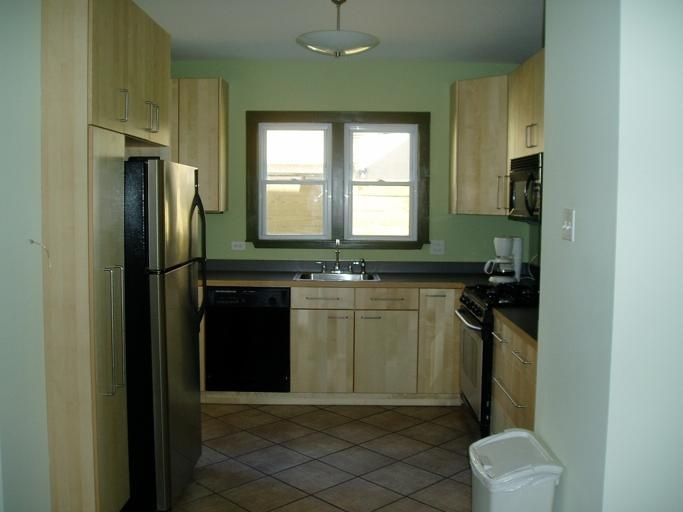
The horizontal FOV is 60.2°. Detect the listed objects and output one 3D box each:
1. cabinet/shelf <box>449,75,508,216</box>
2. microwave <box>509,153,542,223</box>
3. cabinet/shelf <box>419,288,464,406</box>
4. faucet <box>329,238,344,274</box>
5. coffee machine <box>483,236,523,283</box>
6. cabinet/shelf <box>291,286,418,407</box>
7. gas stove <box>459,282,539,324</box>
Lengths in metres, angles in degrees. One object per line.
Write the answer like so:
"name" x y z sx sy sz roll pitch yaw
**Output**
"cabinet/shelf" 1.117 -0.875 4.691 0.436 1.084 0.154 4 11 20
"microwave" 1.351 -0.460 4.039 0.242 0.459 0.521 -1 5 -2
"cabinet/shelf" 0.675 0.694 4.801 0.446 0.880 0.421 7 -4 -27
"faucet" -0.040 0.003 5.184 0.089 0.285 0.154 0 11 0
"coffee machine" 1.225 0.015 4.782 0.404 0.455 0.248 0 5 4
"cabinet/shelf" 0.103 0.586 4.894 1.071 0.955 0.594 -1 20 -3
"gas stove" 1.146 0.337 4.116 0.544 0.171 0.437 16 -9 35
